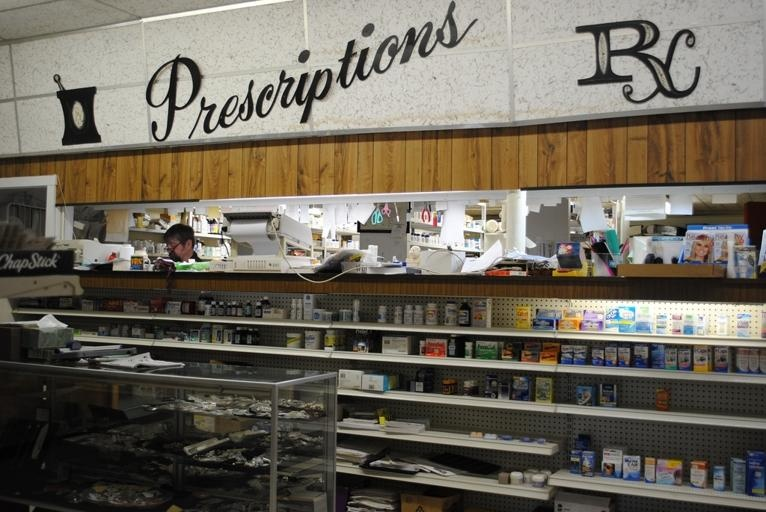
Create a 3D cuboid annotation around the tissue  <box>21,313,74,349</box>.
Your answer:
[{"bbox_3d":[-2.676,0.583,5.768,0.297,0.211,0.301,2,1,45],"label":"tissue "}]

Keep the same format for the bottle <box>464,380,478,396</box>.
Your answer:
[{"bbox_3d":[0.775,1.178,6.454,0.172,0.152,0.116,1,-7,-6],"label":"bottle"}]

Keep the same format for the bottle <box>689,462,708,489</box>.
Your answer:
[{"bbox_3d":[2.561,1.776,5.939,0.128,0.210,0.189,-1,-11,22],"label":"bottle"}]

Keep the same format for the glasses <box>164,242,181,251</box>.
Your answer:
[{"bbox_3d":[-2.359,-0.094,8.133,0.186,0.088,0.081,-3,-12,34],"label":"glasses"}]

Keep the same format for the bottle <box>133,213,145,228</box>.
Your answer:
[{"bbox_3d":[-3.176,-0.457,9.500,0.155,0.235,0.207,7,-11,-17],"label":"bottle"}]

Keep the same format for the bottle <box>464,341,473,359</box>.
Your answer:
[{"bbox_3d":[0.756,0.831,6.432,0.080,0.155,0.057,3,-11,5],"label":"bottle"}]

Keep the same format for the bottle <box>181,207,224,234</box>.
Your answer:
[{"bbox_3d":[-2.421,-0.454,9.746,0.424,0.360,0.219,1,4,-4],"label":"bottle"}]

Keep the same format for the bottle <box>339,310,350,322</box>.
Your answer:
[{"bbox_3d":[-0.351,0.562,6.874,0.134,0.120,0.089,0,-5,-1],"label":"bottle"}]

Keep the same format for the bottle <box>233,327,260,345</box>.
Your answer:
[{"bbox_3d":[-1.343,0.790,7.101,0.190,0.128,0.176,2,-1,0],"label":"bottle"}]

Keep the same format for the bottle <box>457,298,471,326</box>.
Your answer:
[{"bbox_3d":[0.722,0.525,6.468,0.114,0.212,0.075,3,-11,4],"label":"bottle"}]

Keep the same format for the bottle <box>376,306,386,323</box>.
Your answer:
[{"bbox_3d":[-0.014,0.560,6.805,0.130,0.174,0.126,0,-3,0],"label":"bottle"}]

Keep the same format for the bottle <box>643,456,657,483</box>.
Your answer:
[{"bbox_3d":[2.189,1.763,5.997,0.098,0.197,0.074,0,-11,17],"label":"bottle"}]

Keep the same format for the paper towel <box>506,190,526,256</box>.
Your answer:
[{"bbox_3d":[1.241,-0.285,6.825,0.194,0.587,0.499,2,-10,11],"label":"paper towel"}]

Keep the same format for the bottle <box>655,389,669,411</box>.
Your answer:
[{"bbox_3d":[2.341,1.216,6.136,0.125,0.200,0.117,5,-12,1],"label":"bottle"}]

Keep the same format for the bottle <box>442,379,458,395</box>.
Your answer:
[{"bbox_3d":[0.590,1.165,6.561,0.113,0.154,0.192,-1,-2,38],"label":"bottle"}]
